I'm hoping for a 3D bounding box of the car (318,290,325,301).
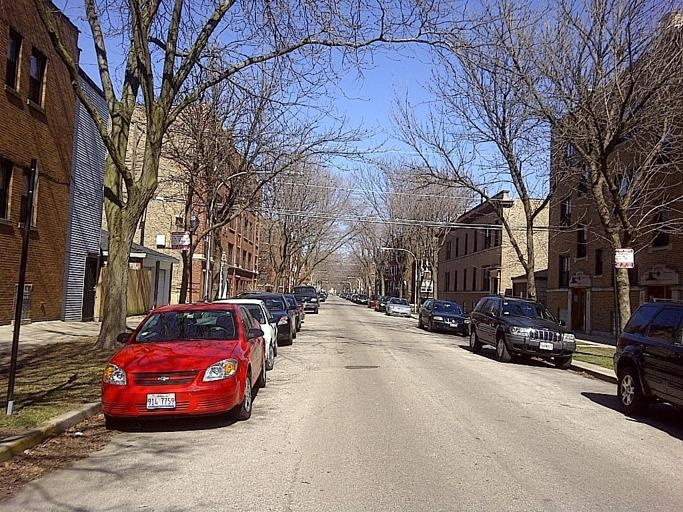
[{"bbox_3d":[-4.022,8.030,99.217,1.099,1.016,2.707,0,-9,-1],"label":"car"}]

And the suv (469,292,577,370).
[{"bbox_3d":[6.440,2.807,18.664,2.821,2.525,6.594,1,-9,5],"label":"suv"}]

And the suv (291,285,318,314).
[{"bbox_3d":[-3.083,3.920,45.491,1.452,1.740,3.532,-1,-9,0],"label":"suv"}]

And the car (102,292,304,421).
[{"bbox_3d":[-2.556,1.750,8.487,2.080,2.113,2.674,1,-8,3],"label":"car"}]
